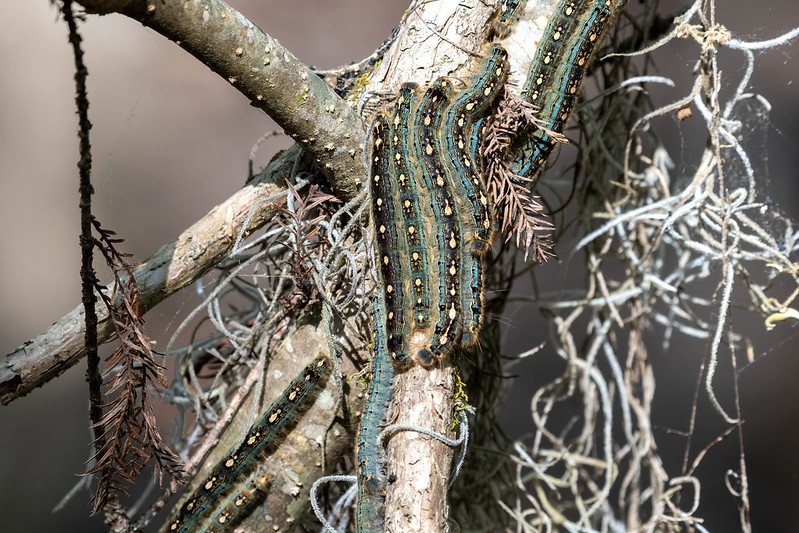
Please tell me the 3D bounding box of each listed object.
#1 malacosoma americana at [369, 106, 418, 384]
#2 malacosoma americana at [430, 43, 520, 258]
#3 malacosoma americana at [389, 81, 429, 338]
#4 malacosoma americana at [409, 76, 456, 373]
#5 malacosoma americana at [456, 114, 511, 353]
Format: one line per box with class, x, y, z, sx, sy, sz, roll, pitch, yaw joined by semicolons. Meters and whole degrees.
malacosoma americana;-0.021;-0.062;3.329;0.102;0.803;0.106;-9;-7;27
malacosoma americana;0.205;-0.332;3.371;0.143;0.642;0.150;6;-13;-5
malacosoma americana;0.028;-0.160;3.234;0.087;0.724;0.071;-2;-3;24
malacosoma americana;0.108;-0.125;3.272;0.066;0.722;0.144;-4;-13;17
malacosoma americana;0.232;-0.094;3.251;0.066;0.659;0.119;6;-9;-41
